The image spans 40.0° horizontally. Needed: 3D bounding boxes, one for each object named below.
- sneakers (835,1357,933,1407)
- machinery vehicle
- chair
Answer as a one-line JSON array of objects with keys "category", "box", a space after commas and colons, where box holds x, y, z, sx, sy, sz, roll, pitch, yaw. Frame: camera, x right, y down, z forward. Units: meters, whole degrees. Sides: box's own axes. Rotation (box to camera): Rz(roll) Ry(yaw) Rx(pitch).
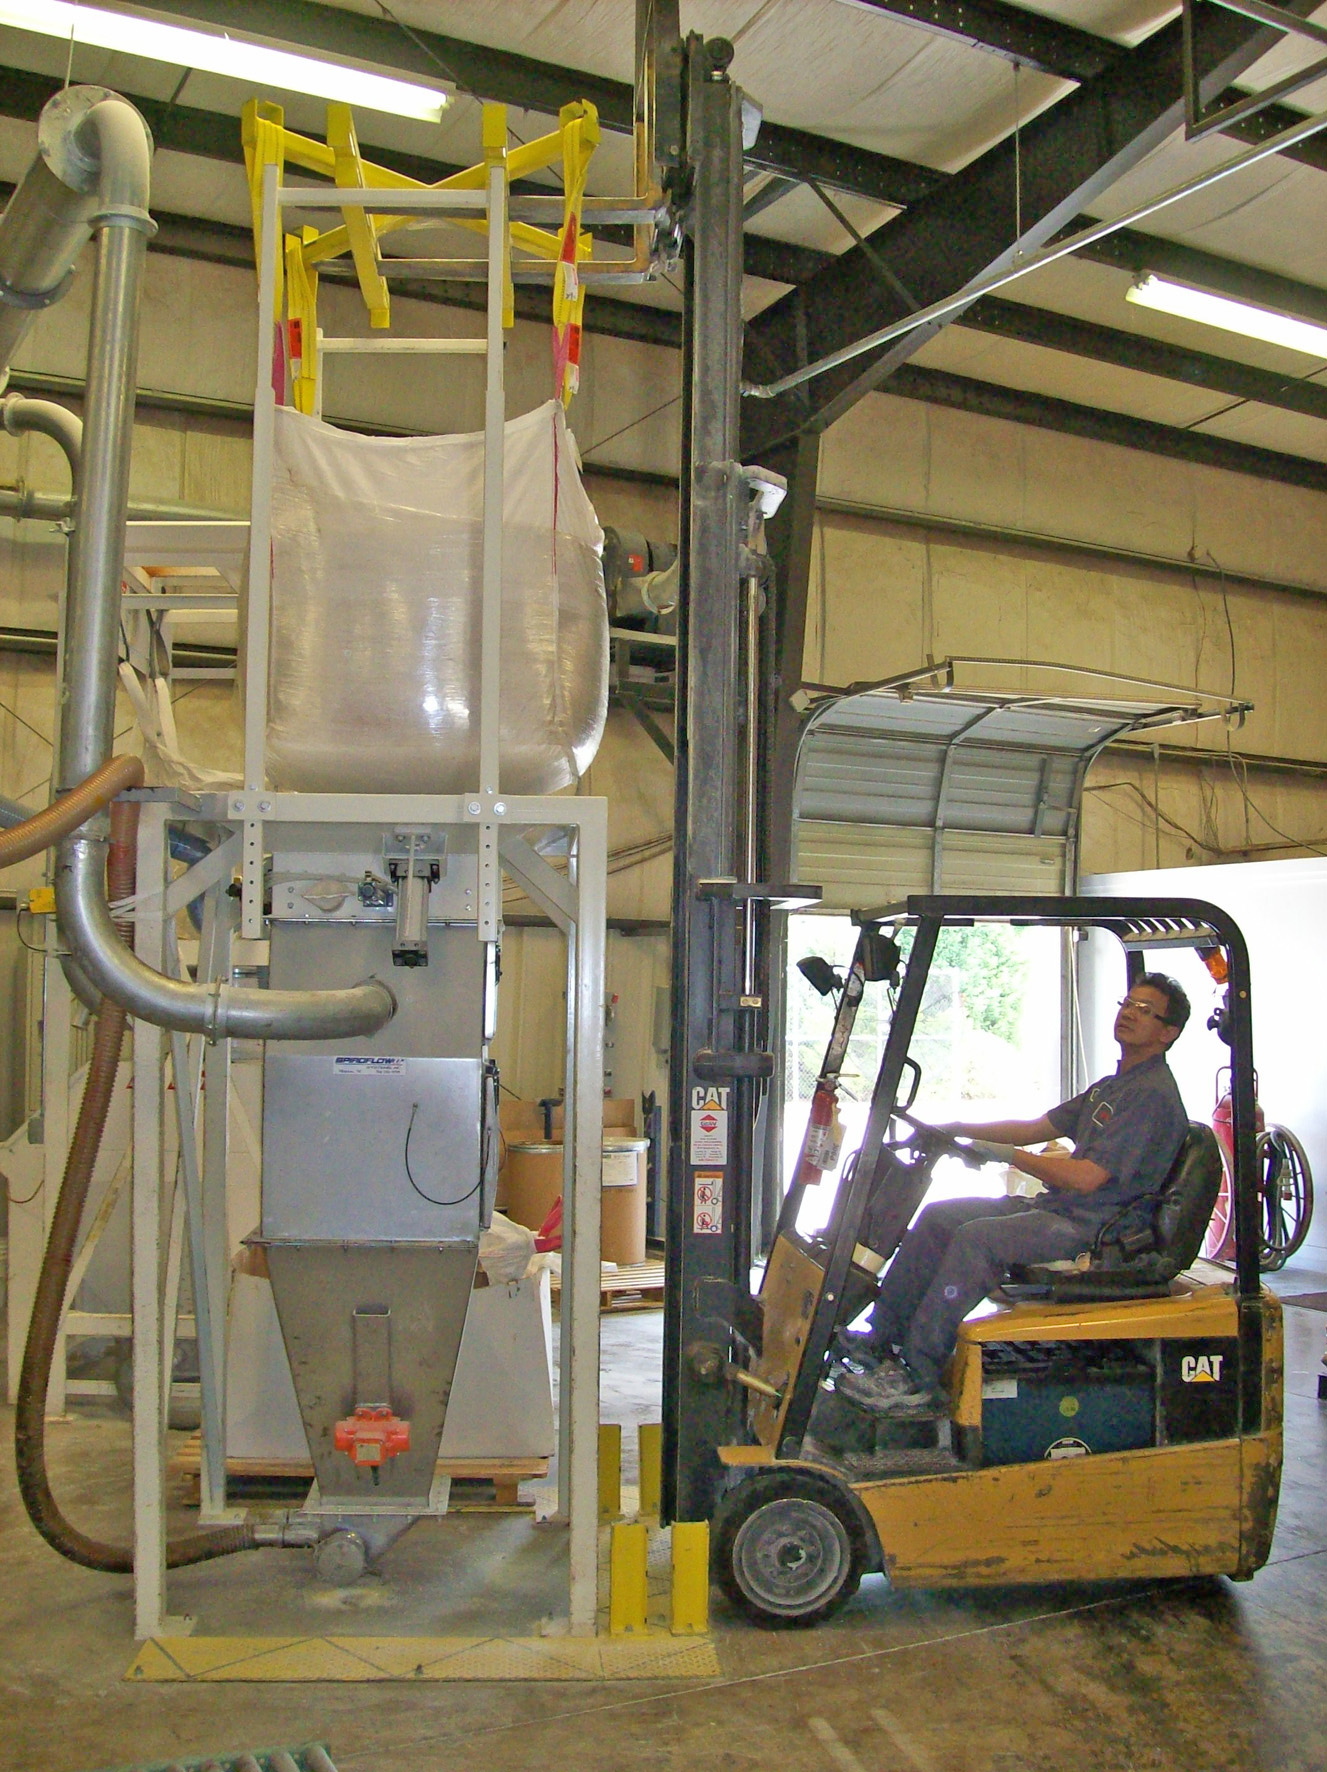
[{"category": "sneakers", "box": [0.708, 1.618, 5.912, 0.333, 0.129, 0.111, 8, -10, 6]}, {"category": "machinery vehicle", "box": [0.943, -0.291, 6.065, 2.051, 5.239, 0.948, 1, -1, -1]}, {"category": "chair", "box": [1.542, 1.118, 6.249, 0.784, 0.510, 0.523, -2, -7, 16]}]
